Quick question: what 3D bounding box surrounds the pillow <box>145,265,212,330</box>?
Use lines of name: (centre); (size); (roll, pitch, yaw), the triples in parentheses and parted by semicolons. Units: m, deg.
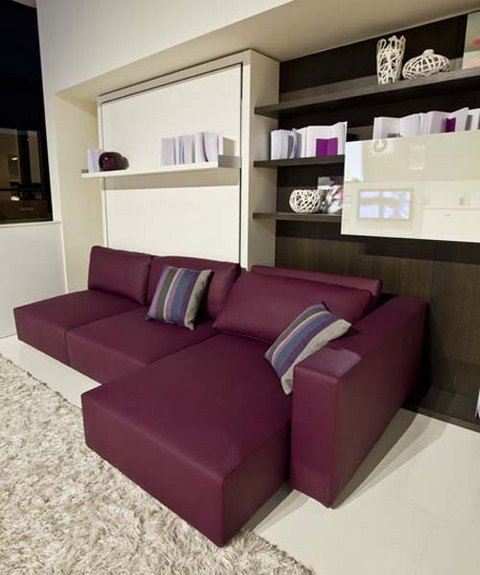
pillow: (-0.371, 0.049, 2.579); (0.360, 0.395, 0.112); (7, -11, 43)

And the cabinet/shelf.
cabinet/shelf: (0.610, -0.777, 2.307); (0.314, 0.803, 1.310); (-10, 15, -43)
